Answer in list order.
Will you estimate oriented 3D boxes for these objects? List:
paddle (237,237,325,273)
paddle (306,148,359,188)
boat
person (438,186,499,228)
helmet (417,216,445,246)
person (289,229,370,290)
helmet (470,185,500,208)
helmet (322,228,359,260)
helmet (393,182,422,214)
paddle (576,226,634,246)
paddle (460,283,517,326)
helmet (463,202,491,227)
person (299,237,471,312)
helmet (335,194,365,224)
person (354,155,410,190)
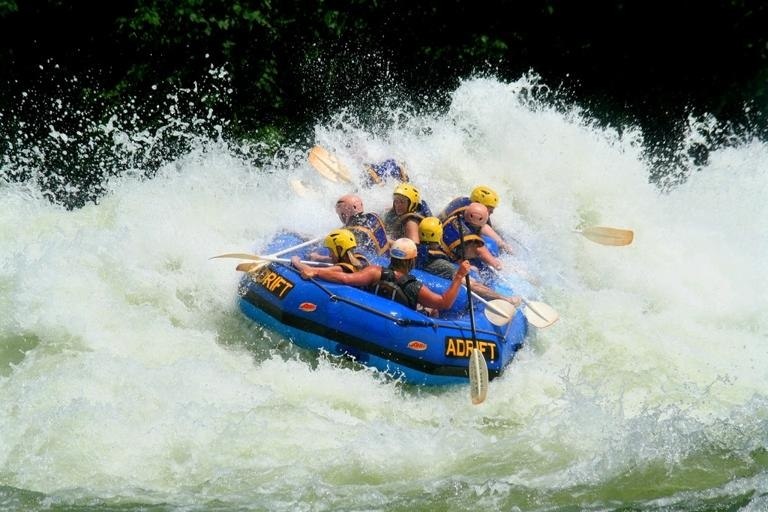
[{"bbox_3d":[-1.841,0.014,18.307,1.554,0.191,0.499,-21,99,-20],"label":"paddle"},{"bbox_3d":[-1.100,-1.749,20.533,1.280,0.185,0.481,40,69,-5],"label":"paddle"},{"bbox_3d":[-0.074,1.177,17.967,3.224,2.715,1.118,28,102,-3],"label":"boat"},{"bbox_3d":[1.638,-0.929,19.690,0.946,0.628,0.450,-14,124,-18],"label":"person"},{"bbox_3d":[0.838,-0.438,18.574,0.351,0.479,0.463,2,101,11],"label":"helmet"},{"bbox_3d":[-0.928,0.049,17.903,1.154,0.883,0.680,5,100,20],"label":"person"},{"bbox_3d":[1.932,-1.111,19.759,0.490,0.374,0.461,37,97,-7],"label":"helmet"},{"bbox_3d":[-0.763,-0.197,18.024,0.530,0.409,0.464,4,96,18],"label":"helmet"},{"bbox_3d":[0.422,-1.127,19.524,0.532,0.409,0.507,38,80,-23],"label":"helmet"},{"bbox_3d":[4.237,-0.377,19.959,1.119,0.086,0.398,10,85,18],"label":"paddle"},{"bbox_3d":[1.911,0.920,18.024,0.884,0.065,0.303,38,93,34],"label":"paddle"},{"bbox_3d":[1.702,-0.745,19.070,0.341,0.459,0.361,26,110,-1],"label":"helmet"},{"bbox_3d":[0.079,0.416,17.993,1.996,1.509,0.884,19,90,-4],"label":"person"},{"bbox_3d":[-0.617,-0.864,19.211,0.553,0.427,0.561,12,98,12],"label":"helmet"},{"bbox_3d":[-0.033,-1.644,20.556,0.682,0.285,0.638,-8,45,-17],"label":"person"}]
